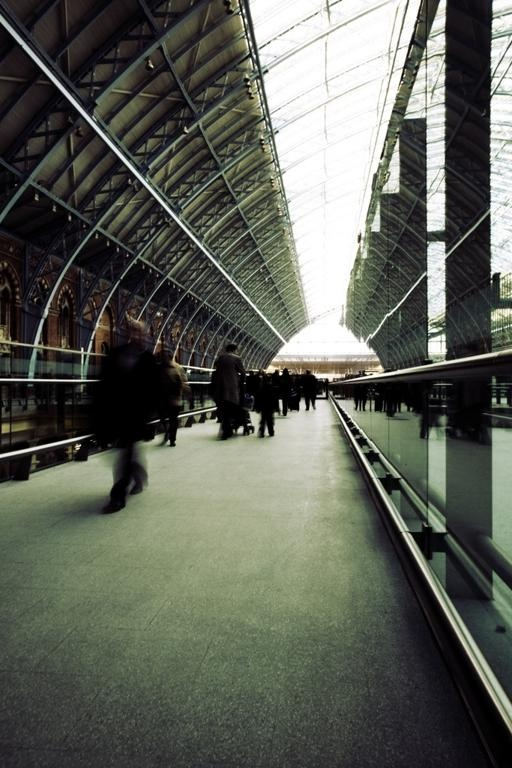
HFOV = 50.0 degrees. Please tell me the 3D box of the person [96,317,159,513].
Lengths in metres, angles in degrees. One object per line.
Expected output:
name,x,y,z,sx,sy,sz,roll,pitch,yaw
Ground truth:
person,-1.126,0.249,4.809,0.543,1.608,0.551,0,-1,-26
